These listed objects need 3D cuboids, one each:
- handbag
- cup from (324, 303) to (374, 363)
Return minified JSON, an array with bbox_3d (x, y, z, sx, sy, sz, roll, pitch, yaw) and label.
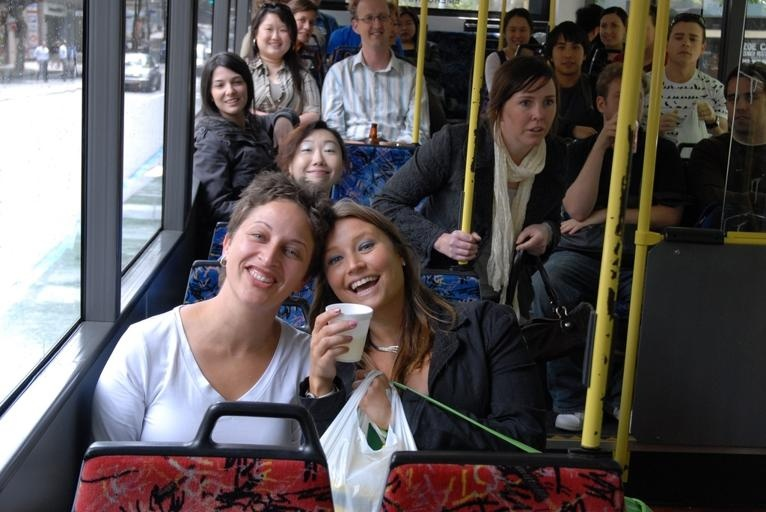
[{"bbox_3d":[0.960,0.287,3.523,0.483,0.498,0.323,-27,-6,-26],"label":"handbag"},{"bbox_3d":[-0.088,0.249,2.070,0.175,0.190,0.181,3,6,0],"label":"cup"}]
